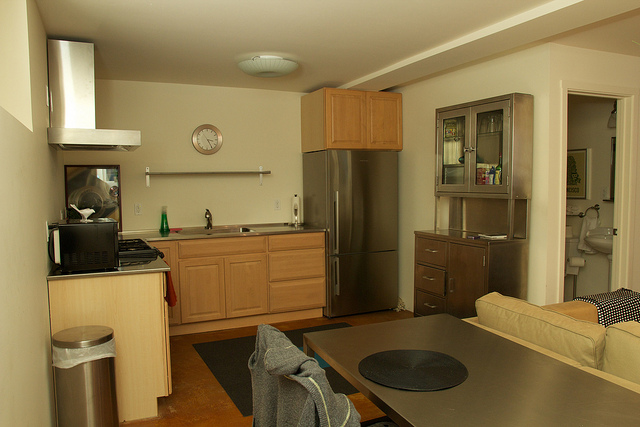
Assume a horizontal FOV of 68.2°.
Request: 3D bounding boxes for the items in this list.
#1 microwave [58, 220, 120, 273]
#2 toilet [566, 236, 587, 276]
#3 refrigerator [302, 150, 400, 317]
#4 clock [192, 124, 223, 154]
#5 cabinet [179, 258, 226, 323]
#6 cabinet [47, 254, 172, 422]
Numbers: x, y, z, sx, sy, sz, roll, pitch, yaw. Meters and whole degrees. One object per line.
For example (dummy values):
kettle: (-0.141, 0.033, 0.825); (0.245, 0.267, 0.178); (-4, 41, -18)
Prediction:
microwave: (-1.837, 0.262, 3.757); (0.416, 0.363, 0.183); (-7, 13, -25)
toilet: (3.138, 0.532, 5.807); (0.246, 0.418, 0.349); (5, 13, 28)
refrigerator: (0.446, 0.195, 5.994); (1.033, 2.013, 0.673); (-5, 12, -18)
clock: (-1.409, -0.913, 5.817); (0.386, 0.375, 0.039); (-2, 2, -28)
cabinet: (-1.356, 0.876, 5.608); (0.652, 0.933, 0.629); (0, -1, -27)
cabinet: (-1.734, 0.722, 4.354); (1.025, 1.345, 1.856); (-2, 1, -18)
